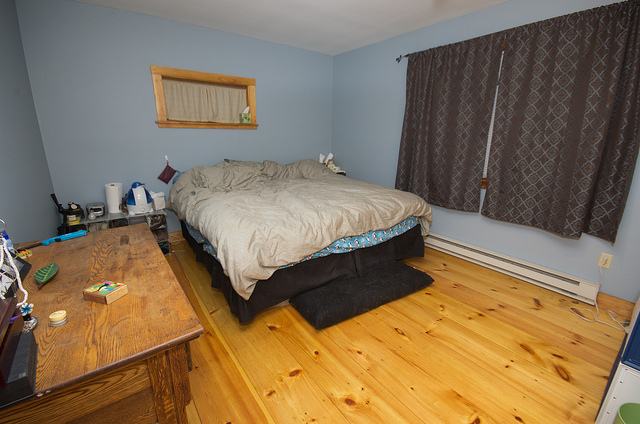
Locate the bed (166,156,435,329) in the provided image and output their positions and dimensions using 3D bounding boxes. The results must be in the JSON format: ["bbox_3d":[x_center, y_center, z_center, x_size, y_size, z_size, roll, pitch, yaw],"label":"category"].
[{"bbox_3d":[-0.311,0.105,4.434,2.461,1.315,2.081,-11,17,-29],"label":"bed"}]

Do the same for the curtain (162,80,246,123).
[{"bbox_3d":[-1.559,-1.499,4.993,1.090,0.537,0.107,-2,41,-20],"label":"curtain"}]

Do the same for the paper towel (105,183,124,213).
[{"bbox_3d":[-2.470,-0.168,4.380,0.154,0.341,0.197,11,21,39],"label":"paper towel"}]
